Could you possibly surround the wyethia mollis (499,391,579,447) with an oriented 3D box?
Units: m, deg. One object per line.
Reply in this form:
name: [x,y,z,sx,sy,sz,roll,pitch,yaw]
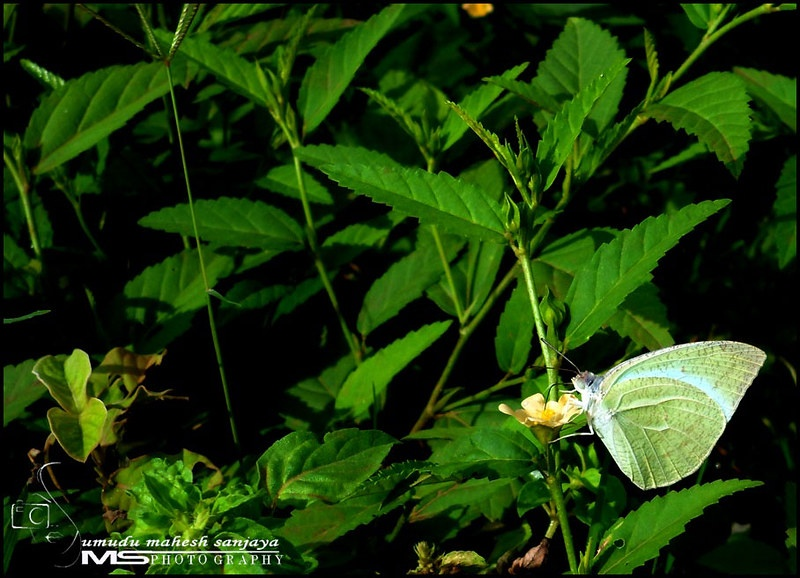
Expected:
wyethia mollis: [0.381,0.352,2.201,0.168,0.106,0.198,-2,14,11]
